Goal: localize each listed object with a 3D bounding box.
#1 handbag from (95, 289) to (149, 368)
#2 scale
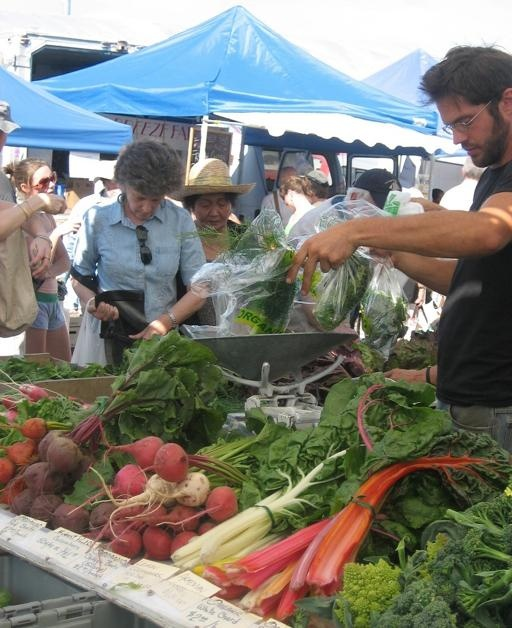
[{"bbox_3d":[-0.983,0.087,3.716,0.514,0.538,0.254,2,8,-6],"label":"handbag"},{"bbox_3d":[0.108,0.291,2.129,0.629,0.273,0.589,9,17,34],"label":"scale"}]
